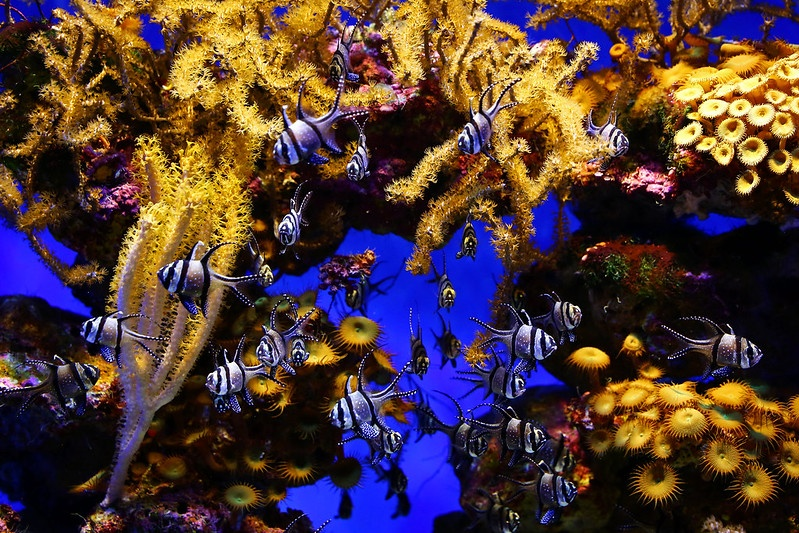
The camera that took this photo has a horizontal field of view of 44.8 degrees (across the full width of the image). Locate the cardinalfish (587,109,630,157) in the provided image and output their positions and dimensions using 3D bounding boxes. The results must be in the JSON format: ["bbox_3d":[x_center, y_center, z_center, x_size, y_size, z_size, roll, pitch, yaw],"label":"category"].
[{"bbox_3d":[1.963,-1.312,9.248,0.274,0.343,0.553,-12,40,2],"label":"cardinalfish"}]
